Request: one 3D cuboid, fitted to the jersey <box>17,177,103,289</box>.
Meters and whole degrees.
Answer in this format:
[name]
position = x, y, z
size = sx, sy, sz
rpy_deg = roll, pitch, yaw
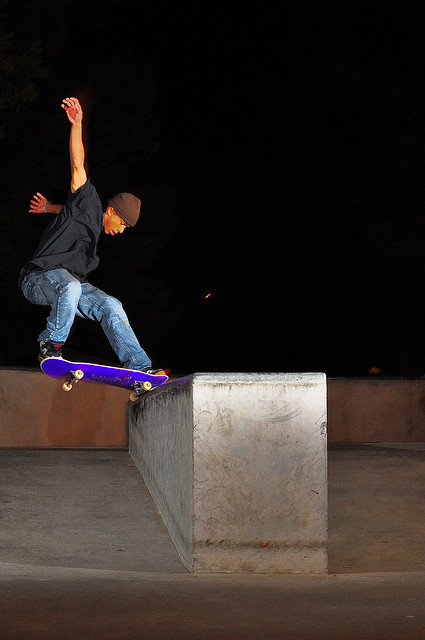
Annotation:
[jersey]
position = -1.208, -0.727, 5.923
size = 0.625, 0.774, 0.344
rpy_deg = -1, 4, -12
